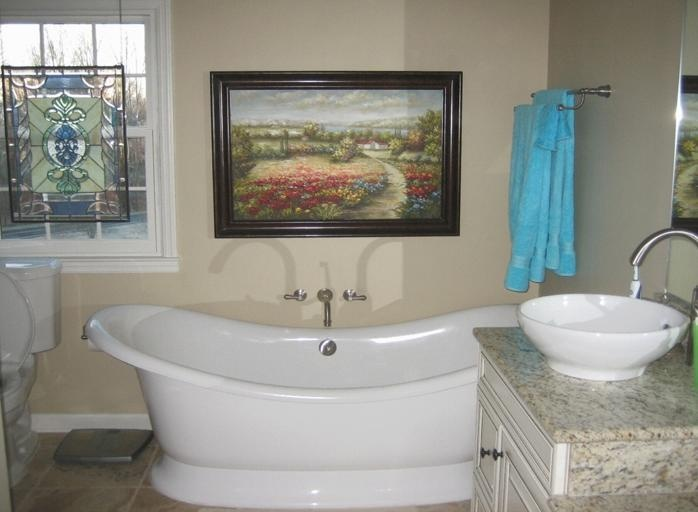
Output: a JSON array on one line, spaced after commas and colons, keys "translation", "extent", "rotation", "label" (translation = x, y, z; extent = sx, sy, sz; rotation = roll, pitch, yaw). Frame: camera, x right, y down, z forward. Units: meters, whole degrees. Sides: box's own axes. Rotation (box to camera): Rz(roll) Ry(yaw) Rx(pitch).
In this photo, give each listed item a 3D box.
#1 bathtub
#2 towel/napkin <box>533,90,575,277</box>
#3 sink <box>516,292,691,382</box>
[{"translation": [-0.276, 0.770, 3.171], "extent": [1.946, 1.005, 0.943], "rotation": [-1, 12, 11], "label": "bathtub"}, {"translation": [1.103, -0.395, 3.077], "extent": [0.208, 0.961, 0.268], "rotation": [1, 13, 18], "label": "towel/napkin"}, {"translation": [0.908, 0.303, 2.097], "extent": [0.575, 0.231, 0.413], "rotation": [-2, 12, 7], "label": "sink"}]
